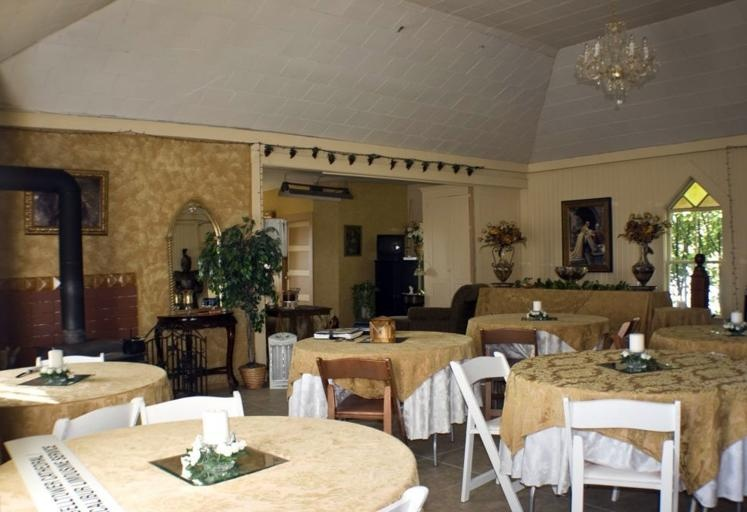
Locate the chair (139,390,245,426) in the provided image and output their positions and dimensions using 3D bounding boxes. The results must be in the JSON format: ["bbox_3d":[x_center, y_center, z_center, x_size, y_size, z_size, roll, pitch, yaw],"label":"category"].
[{"bbox_3d":[-1.155,0.967,3.652,0.480,0.212,0.375,1,0,-22],"label":"chair"}]

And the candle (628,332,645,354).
[{"bbox_3d":[1.964,0.651,4.335,0.135,0.132,0.135,-2,-1,24],"label":"candle"}]

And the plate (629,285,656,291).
[{"bbox_3d":[4.410,0.524,9.520,0.452,0.082,0.360,0,0,7],"label":"plate"}]

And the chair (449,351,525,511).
[{"bbox_3d":[0.922,1.369,4.707,0.555,1.205,1.179,0,0,8],"label":"chair"}]

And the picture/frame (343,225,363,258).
[{"bbox_3d":[-0.497,-0.349,13.311,0.087,0.841,0.767,-2,0,41],"label":"picture/frame"}]

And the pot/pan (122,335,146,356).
[{"bbox_3d":[-2.811,1.046,6.809,0.222,0.208,0.223,-3,-3,35],"label":"pot/pan"}]

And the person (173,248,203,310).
[{"bbox_3d":[-2.586,0.325,8.059,0.438,0.810,0.265,-4,4,-36],"label":"person"}]

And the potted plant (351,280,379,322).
[{"bbox_3d":[-0.361,1.065,13.517,0.836,1.065,0.753,1,-2,-39],"label":"potted plant"}]

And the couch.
[{"bbox_3d":[1.113,0.921,9.703,0.959,0.696,0.952,0,-3,13],"label":"couch"}]

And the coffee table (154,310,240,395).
[{"bbox_3d":[-2.393,1.296,7.939,1.123,1.097,0.670,-1,1,-21],"label":"coffee table"}]

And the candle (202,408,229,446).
[{"bbox_3d":[-0.812,0.883,3.025,0.165,0.173,0.158,0,0,3],"label":"candle"}]

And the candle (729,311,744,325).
[{"bbox_3d":[3.491,0.598,5.567,0.091,0.120,0.100,0,1,39],"label":"candle"}]

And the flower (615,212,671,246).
[{"bbox_3d":[4.540,-0.446,9.933,0.790,0.538,0.752,-8,3,-8],"label":"flower"}]

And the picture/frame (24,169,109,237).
[{"bbox_3d":[-3.800,-0.652,7.084,0.061,0.763,0.903,-1,0,42],"label":"picture/frame"}]

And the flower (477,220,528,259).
[{"bbox_3d":[2.580,-0.313,11.380,0.876,0.817,0.856,1,-4,-8],"label":"flower"}]

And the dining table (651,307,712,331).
[{"bbox_3d":[4.566,0.830,8.621,0.729,0.373,0.739,-1,0,40],"label":"dining table"}]

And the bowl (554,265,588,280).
[{"bbox_3d":[3.484,0.306,10.283,0.404,0.178,0.398,-1,1,0],"label":"bowl"}]

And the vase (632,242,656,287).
[{"bbox_3d":[4.539,0.147,9.770,0.301,0.685,0.521,0,1,39],"label":"vase"}]
